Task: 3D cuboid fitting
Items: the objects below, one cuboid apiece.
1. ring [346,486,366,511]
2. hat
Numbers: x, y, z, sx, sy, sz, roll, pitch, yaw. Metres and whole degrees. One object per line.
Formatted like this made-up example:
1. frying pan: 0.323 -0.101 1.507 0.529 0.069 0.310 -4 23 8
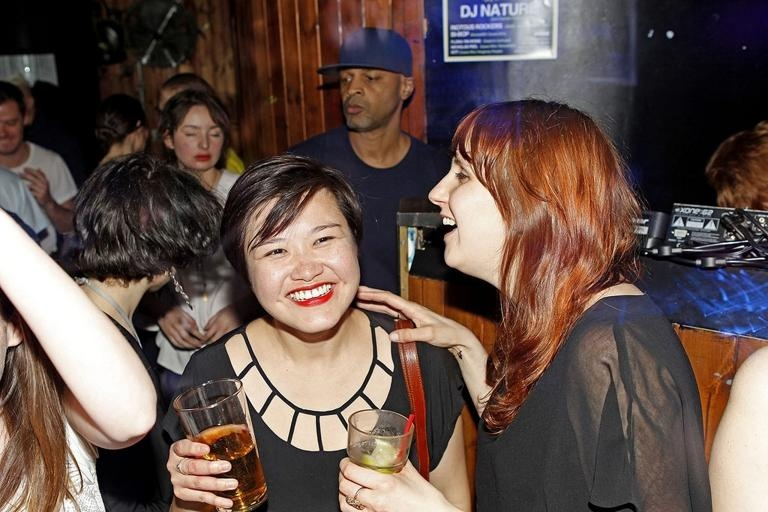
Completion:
1. ring: -0.084 0.756 1.825 0.057 0.075 0.028 9 1 36
2. hat: -0.059 -1.248 3.614 0.370 0.195 0.299 6 5 0
